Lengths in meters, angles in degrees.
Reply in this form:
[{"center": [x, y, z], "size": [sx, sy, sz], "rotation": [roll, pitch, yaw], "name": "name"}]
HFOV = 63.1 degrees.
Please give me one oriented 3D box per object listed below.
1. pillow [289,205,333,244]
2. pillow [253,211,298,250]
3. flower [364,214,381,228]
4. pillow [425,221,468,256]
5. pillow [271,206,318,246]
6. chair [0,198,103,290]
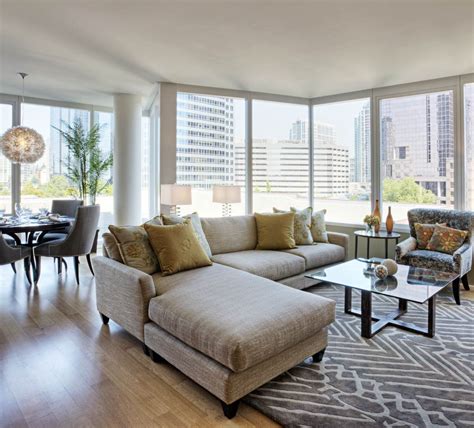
[{"center": [0.942, 0.144, 4.875], "size": [0.503, 0.448, 0.147], "rotation": [-6, -3, -29], "name": "pillow"}, {"center": [0.502, 0.202, 4.687], "size": [0.534, 0.430, 0.191], "rotation": [-4, -2, 25], "name": "pillow"}, {"center": [1.807, 0.087, 5.074], "size": [0.285, 0.150, 0.201], "rotation": [-6, 11, -35], "name": "flower"}, {"center": [2.476, 0.294, 4.530], "size": [0.397, 0.292, 0.330], "rotation": [7, 12, 38], "name": "pillow"}, {"center": [0.721, 0.168, 4.783], "size": [0.521, 0.458, 0.188], "rotation": [2, -18, -7], "name": "pillow"}, {"center": [-2.292, 0.391, 5.252], "size": [1.259, 1.367, 1.087], "rotation": [10, -8, -41], "name": "chair"}]
